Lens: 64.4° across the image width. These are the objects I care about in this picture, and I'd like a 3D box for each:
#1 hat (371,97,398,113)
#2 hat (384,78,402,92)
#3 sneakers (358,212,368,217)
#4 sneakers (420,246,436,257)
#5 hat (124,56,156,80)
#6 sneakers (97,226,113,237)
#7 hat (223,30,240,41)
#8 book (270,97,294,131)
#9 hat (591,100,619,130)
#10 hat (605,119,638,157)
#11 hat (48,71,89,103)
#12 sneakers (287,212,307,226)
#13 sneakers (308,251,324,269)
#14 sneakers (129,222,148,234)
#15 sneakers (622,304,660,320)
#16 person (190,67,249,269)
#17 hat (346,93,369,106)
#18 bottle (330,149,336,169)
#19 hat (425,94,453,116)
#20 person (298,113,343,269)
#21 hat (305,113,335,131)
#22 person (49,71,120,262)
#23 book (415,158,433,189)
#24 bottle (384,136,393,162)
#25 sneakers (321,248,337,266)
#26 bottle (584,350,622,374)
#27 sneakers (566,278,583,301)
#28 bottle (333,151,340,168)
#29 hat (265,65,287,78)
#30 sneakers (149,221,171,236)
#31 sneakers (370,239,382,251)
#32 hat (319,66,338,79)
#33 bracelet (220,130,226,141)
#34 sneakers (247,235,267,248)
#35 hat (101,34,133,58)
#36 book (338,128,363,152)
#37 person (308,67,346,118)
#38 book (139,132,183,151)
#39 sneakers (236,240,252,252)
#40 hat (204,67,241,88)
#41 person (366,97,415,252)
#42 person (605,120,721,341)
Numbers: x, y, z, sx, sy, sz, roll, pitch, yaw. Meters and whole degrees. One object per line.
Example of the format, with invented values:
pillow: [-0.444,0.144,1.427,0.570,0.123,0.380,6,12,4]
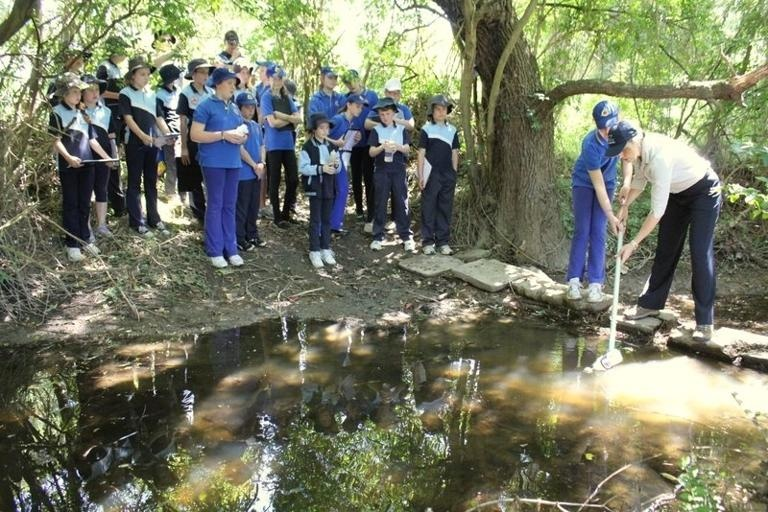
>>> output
hat: [0.046,-2.209,8.887,0.358,0.214,0.325,-4,8,-18]
hat: [0.121,-2.547,9.059,0.215,0.211,0.205,-1,8,5]
sneakers: [-0.363,-0.688,10.025,0.091,0.079,0.148,-4,-9,10]
sneakers: [0.642,-0.065,9.001,0.160,0.106,0.277,0,-6,5]
hat: [-3.105,-2.452,7.837,0.301,0.154,0.292,-28,11,-31]
sneakers: [-3.657,-0.319,8.025,0.241,0.103,0.103,12,18,15]
hat: [-2.301,-3.320,9.198,0.198,0.177,0.150,-16,22,-19]
book: [-1.510,-2.129,8.979,0.450,0.425,0.113,1,-10,-22]
hat: [2.549,-1.692,7.067,0.298,0.212,0.396,-18,46,22]
hat: [2.495,-1.249,6.410,0.327,0.379,0.223,0,8,14]
hat: [-3.834,-2.055,7.335,0.551,0.338,0.394,-2,8,-2]
sneakers: [-1.385,-0.579,9.645,0.390,0.256,0.139,-4,5,36]
sneakers: [-0.949,0.044,8.499,0.118,0.197,0.317,-15,30,-23]
sneakers: [-3.272,-0.364,8.187,0.289,0.110,0.122,12,-27,14]
sneakers: [3.035,0.669,7.290,0.487,0.208,0.173,3,-4,3]
person: [-2.096,-1.094,7.858,0.690,2.536,0.523,-5,9,-17]
hat: [-0.413,-2.348,9.114,0.314,0.170,0.377,-2,7,-1]
bottle: [-0.691,-1.316,8.272,0.098,0.218,0.169,-3,8,-5]
hat: [0.782,-2.201,8.905,0.300,0.233,0.378,-2,-1,-27]
person: [-0.873,-0.891,8.413,0.531,2.121,0.431,-3,9,-6]
hat: [-0.915,-1.856,8.406,0.350,0.244,0.291,0,8,11]
person: [-3.705,-1.071,7.476,0.590,2.267,0.597,-7,10,-28]
book: [0.595,-1.219,8.955,0.183,0.416,0.055,-3,9,-9]
bottle: [0.046,-1.514,8.790,0.164,0.263,0.066,3,13,8]
sneakers: [-0.773,0.005,8.610,0.114,0.139,0.323,-21,58,-26]
bottle: [2.332,1.092,6.488,0.385,0.235,0.310,0,8,15]
sneakers: [2.367,0.429,7.585,0.152,0.138,0.335,0,4,10]
bottle: [-0.652,-1.319,8.244,0.068,0.198,0.146,1,-22,0]
hat: [-1.579,-2.692,8.841,0.268,0.205,0.240,2,9,27]
sneakers: [-3.046,-0.362,8.343,0.324,0.137,0.112,21,48,32]
sneakers: [-0.117,-0.172,9.106,0.125,0.170,0.048,1,39,1]
hat: [-0.824,-2.727,9.024,0.313,0.143,0.409,0,14,-12]
bracelet: [-2.043,-1.520,7.677,0.044,0.110,0.059,-4,9,-15]
sneakers: [-1.817,-0.197,8.700,0.226,0.104,0.113,3,16,11]
hat: [-3.456,-2.733,7.906,0.284,0.269,0.206,-6,29,-9]
book: [-0.555,-1.793,9.345,0.399,0.363,0.090,4,26,-48]
person: [-0.834,-2.412,9.333,0.596,0.843,0.499,2,-2,-5]
book: [-2.906,-1.521,7.973,0.318,0.092,0.313,-6,0,16]
sneakers: [-1.969,-0.152,8.536,0.217,0.090,0.106,5,18,21]
hat: [-2.020,-2.219,7.593,0.335,0.161,0.246,-20,12,20]
person: [0.095,-1.186,9.071,0.683,2.277,0.473,-2,9,-2]
person: [3.142,-0.276,6.801,1.213,2.416,0.728,-1,8,4]
